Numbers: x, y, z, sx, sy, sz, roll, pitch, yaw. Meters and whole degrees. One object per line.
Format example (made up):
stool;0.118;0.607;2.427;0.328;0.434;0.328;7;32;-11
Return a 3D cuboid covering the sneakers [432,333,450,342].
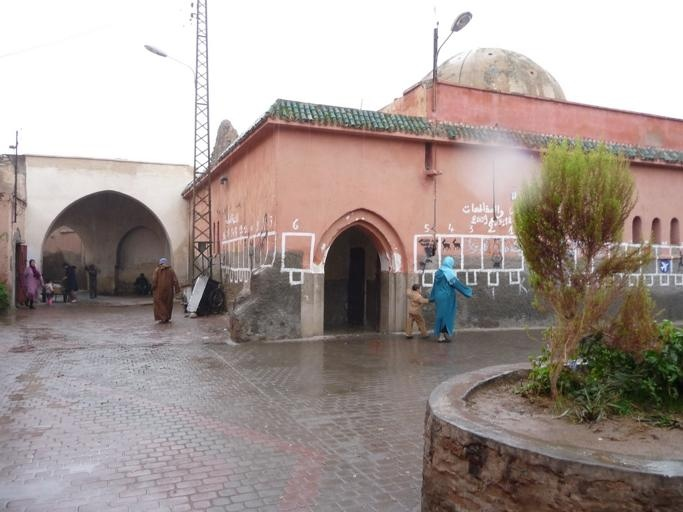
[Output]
sneakers;2.261;1.850;13.374;0.496;0.237;0.154;-3;4;-40

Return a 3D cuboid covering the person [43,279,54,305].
person;-11.439;1.461;23.167;0.354;0.849;1.861;0;-2;-26

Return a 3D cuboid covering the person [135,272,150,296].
person;-10.686;1.555;31.827;0.886;1.747;0.468;-2;7;-16

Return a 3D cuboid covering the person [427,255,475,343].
person;2.386;0.967;13.501;0.632;1.902;1.073;0;-1;-11

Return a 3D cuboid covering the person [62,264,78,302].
person;-11.543;1.147;25.275;0.474;1.618;1.786;0;-2;-24
